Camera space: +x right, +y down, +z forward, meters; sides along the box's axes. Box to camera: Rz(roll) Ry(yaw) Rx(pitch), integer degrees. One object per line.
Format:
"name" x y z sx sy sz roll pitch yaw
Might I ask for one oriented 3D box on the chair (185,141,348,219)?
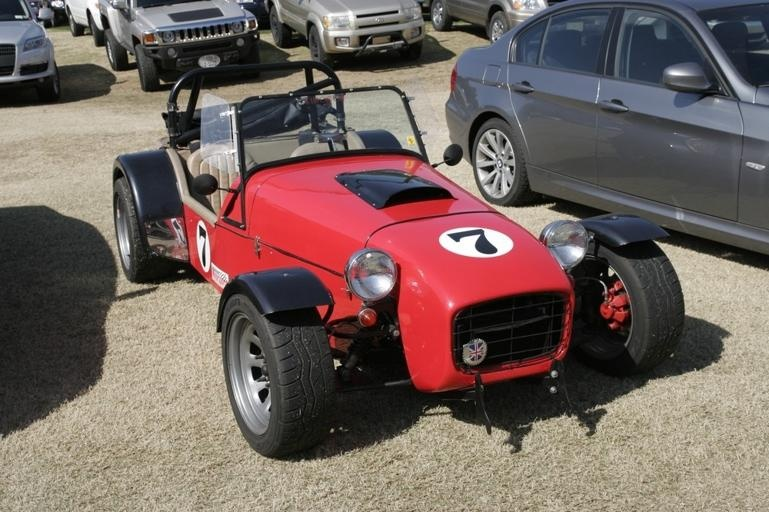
"chair" -1.162 -0.724 5.344 0.760 0.381 0.998 -12 20 -30

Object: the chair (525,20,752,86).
"chair" 2.634 -2.161 6.594 0.964 0.453 1.743 -20 26 -32
